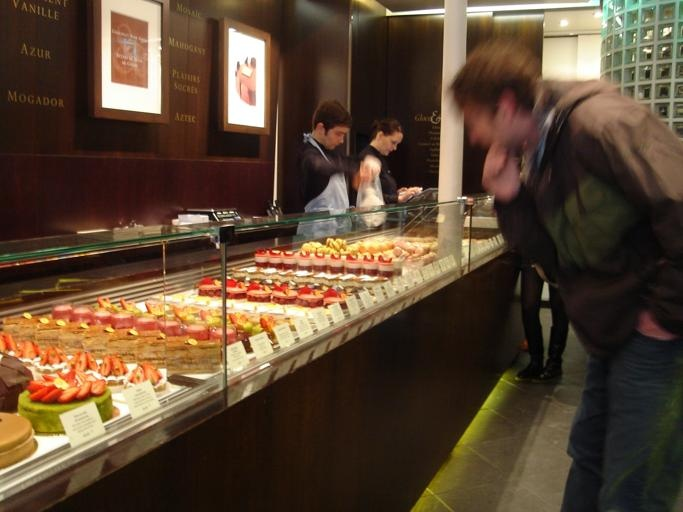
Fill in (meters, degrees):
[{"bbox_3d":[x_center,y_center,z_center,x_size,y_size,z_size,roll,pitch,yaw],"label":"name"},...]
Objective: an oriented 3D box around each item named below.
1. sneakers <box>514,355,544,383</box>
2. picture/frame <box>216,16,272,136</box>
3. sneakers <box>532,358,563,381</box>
[{"bbox_3d":[1.457,0.902,3.921,0.283,0.224,0.124,2,1,-4],"label":"sneakers"},{"bbox_3d":[-0.880,-1.618,4.542,0.087,0.940,0.625,3,8,29],"label":"picture/frame"},{"bbox_3d":[1.658,0.902,3.927,0.105,0.144,0.308,-1,-3,42],"label":"sneakers"}]
